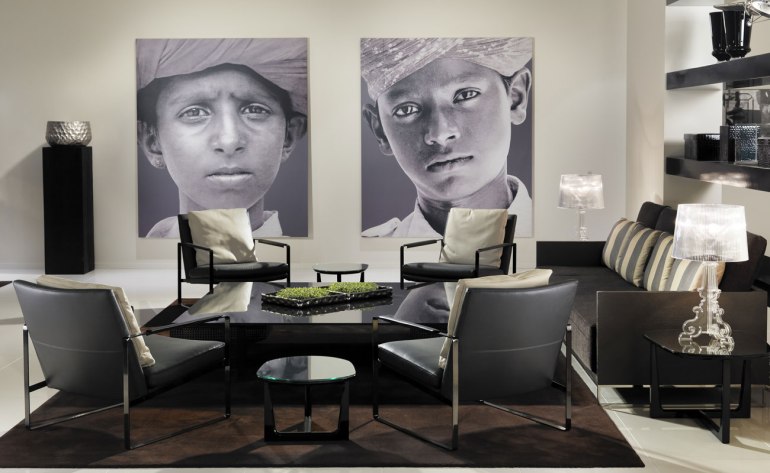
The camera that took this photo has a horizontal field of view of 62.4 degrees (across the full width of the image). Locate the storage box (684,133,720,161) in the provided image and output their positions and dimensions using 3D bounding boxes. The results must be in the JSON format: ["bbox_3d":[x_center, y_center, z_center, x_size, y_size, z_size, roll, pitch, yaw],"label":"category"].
[{"bbox_3d":[3.123,-0.870,6.245,0.321,0.171,0.299,-2,6,-11],"label":"storage box"}]

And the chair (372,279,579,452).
[{"bbox_3d":[0.654,0.908,4.878,1.502,1.104,1.474,1,-3,-7],"label":"chair"}]

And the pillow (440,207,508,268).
[{"bbox_3d":[1.008,0.027,6.980,0.681,0.525,0.346,3,9,26],"label":"pillow"}]

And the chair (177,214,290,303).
[{"bbox_3d":[-1.673,0.313,7.130,1.183,1.037,1.087,-1,8,-18],"label":"chair"}]

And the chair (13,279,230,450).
[{"bbox_3d":[-1.951,0.888,4.749,1.202,1.037,1.247,0,-2,21],"label":"chair"}]

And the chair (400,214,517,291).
[{"bbox_3d":[0.844,0.280,7.074,1.065,1.064,1.068,4,11,23],"label":"chair"}]

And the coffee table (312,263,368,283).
[{"bbox_3d":[-0.468,0.386,6.619,0.445,0.175,0.559,-7,8,-40],"label":"coffee table"}]

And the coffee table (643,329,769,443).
[{"bbox_3d":[2.375,1.041,4.783,0.721,0.567,1.320,0,2,3],"label":"coffee table"}]

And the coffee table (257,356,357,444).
[{"bbox_3d":[-0.534,1.129,4.509,0.683,0.378,0.629,0,-1,19],"label":"coffee table"}]

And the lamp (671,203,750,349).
[{"bbox_3d":[2.402,0.280,4.687,0.499,1.037,0.613,0,7,21],"label":"lamp"}]

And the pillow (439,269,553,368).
[{"bbox_3d":[0.695,0.564,4.719,0.762,0.870,0.743,-2,9,-13],"label":"pillow"}]

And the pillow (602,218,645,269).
[{"bbox_3d":[2.438,0.069,6.613,0.167,0.450,0.515,17,22,-15],"label":"pillow"}]

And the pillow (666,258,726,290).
[{"bbox_3d":[2.462,0.316,5.180,0.083,0.246,0.259,21,-8,-33],"label":"pillow"}]
